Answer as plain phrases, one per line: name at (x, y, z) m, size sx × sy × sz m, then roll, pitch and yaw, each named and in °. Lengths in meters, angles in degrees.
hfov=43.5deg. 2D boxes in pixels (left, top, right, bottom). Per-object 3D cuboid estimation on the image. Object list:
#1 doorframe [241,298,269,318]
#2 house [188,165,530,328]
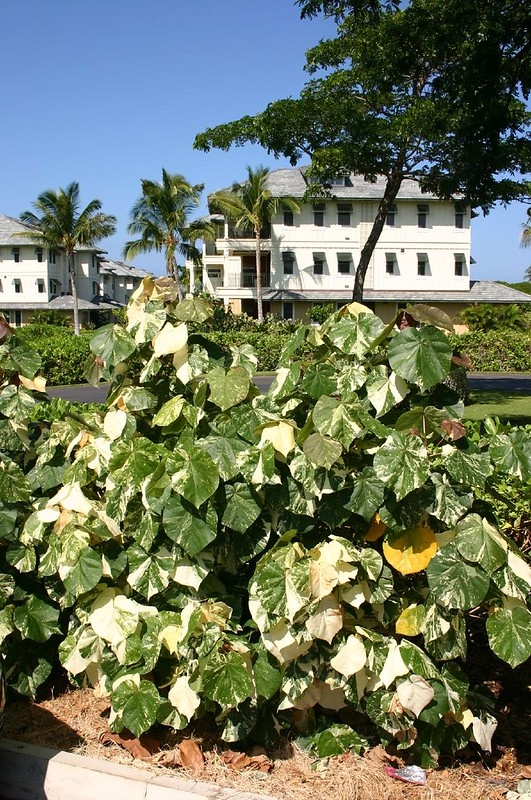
doorframe at (-0.786, -6.615, 47.112) m, size 1.639 × 1.062 × 1.660 m, roll 0°, pitch 4°, yaw -13°
house at (5.817, -11.152, 45.825) m, size 19.573 × 12.166 × 6.469 m, roll 2°, pitch -5°, yaw 1°
